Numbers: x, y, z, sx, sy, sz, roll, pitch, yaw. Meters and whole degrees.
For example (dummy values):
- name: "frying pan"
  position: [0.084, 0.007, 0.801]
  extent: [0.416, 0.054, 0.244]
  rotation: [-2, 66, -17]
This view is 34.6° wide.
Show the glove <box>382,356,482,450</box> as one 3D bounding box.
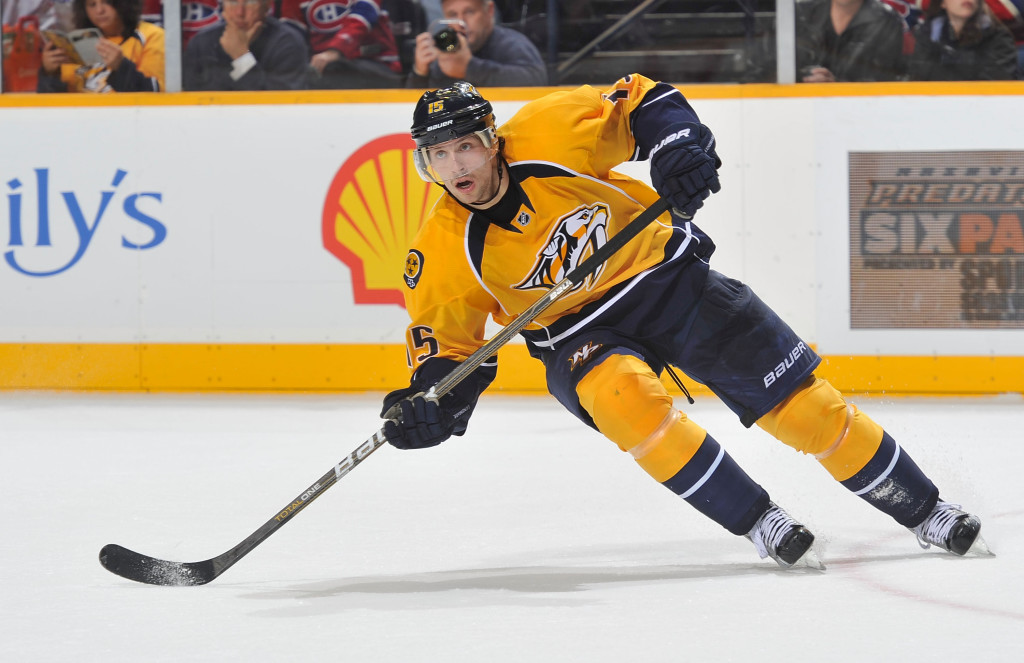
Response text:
- name: "glove"
  position: [-0.334, 0.300, 7.249]
  extent: [0.343, 0.197, 0.454]
  rotation: [0, 30, 35]

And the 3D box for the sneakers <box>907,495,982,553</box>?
- name: "sneakers"
  position: [1.903, 0.827, 7.329]
  extent: [0.274, 0.125, 0.371]
  rotation: [11, 4, -3]

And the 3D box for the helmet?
- name: "helmet"
  position: [-0.254, -0.872, 7.383]
  extent: [0.360, 0.447, 0.453]
  rotation: [-20, 0, 18]

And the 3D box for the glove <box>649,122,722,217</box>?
- name: "glove"
  position: [0.762, -0.697, 7.109]
  extent: [0.292, 0.392, 0.169]
  rotation: [-35, -15, 19]
